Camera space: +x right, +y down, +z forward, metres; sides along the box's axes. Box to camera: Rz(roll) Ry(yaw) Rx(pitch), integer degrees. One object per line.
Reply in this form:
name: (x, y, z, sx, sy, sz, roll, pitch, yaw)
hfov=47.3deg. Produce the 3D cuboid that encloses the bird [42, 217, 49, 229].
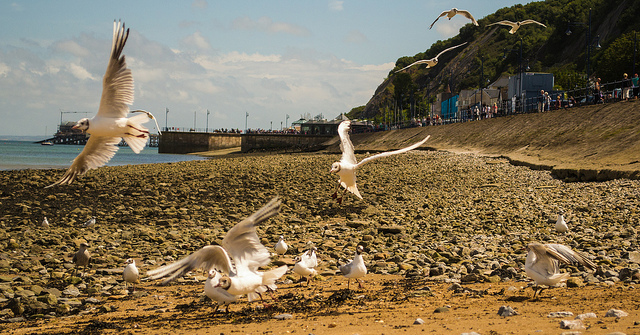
bird: (-14.958, 3.042, 39.750, 0.300, 0.448, 0.473, -1, 20, -15)

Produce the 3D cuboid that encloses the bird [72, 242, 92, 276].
bird: (-11.865, 4.522, 36.771, 0.861, 1.437, 0.860, 2, 0, -14)

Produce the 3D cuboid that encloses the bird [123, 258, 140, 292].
bird: (-9.244, 5.292, 35.883, 0.721, 1.581, 0.584, 2, 0, -11)
